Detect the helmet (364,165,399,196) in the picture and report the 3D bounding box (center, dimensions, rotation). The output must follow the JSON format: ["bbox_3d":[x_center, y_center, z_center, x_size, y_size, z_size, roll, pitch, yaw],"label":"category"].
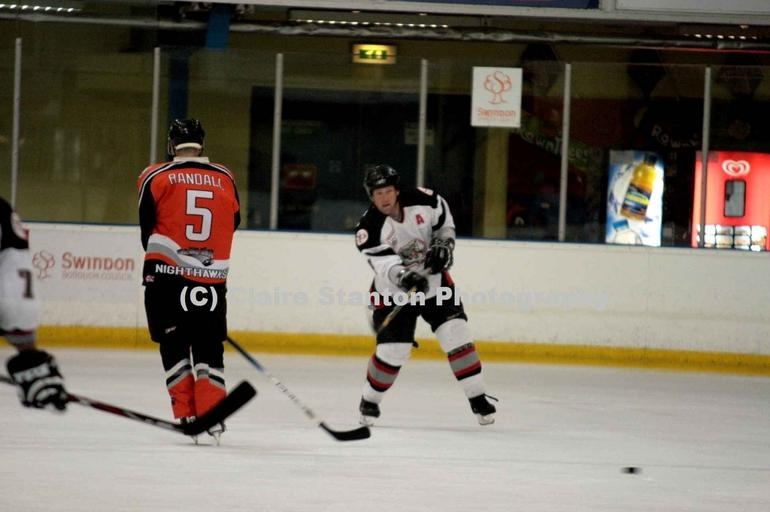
[{"bbox_3d":[-0.062,-0.578,9.901,0.249,0.209,0.199,-23,-6,26],"label":"helmet"}]

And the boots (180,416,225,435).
[{"bbox_3d":[-1.292,1.200,9.501,0.229,0.097,0.174,-10,2,7],"label":"boots"}]

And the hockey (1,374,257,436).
[{"bbox_3d":[-1.844,1.081,9.580,1.243,0.144,0.215,16,36,-4],"label":"hockey"}]

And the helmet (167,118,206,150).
[{"bbox_3d":[-1.436,-0.867,9.659,0.200,0.224,0.239,-4,15,-17],"label":"helmet"}]

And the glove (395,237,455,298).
[{"bbox_3d":[0.261,0.044,9.884,0.130,0.363,0.380,47,18,17],"label":"glove"}]
